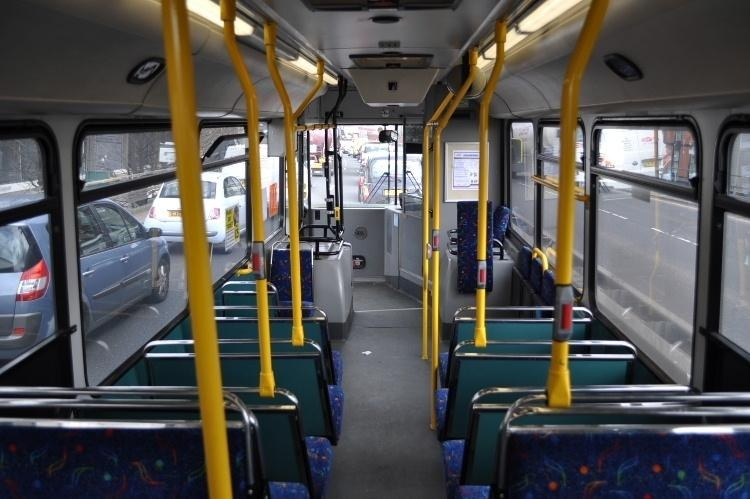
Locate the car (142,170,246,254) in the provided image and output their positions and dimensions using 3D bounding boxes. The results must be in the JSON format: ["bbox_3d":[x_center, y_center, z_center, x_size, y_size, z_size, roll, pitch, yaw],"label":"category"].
[{"bbox_3d":[-2.318,-0.483,6.851,1.018,0.956,2.107,1,14,4],"label":"car"}]

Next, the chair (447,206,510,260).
[{"bbox_3d":[1.702,-0.319,8.121,1.008,1.184,0.861,-1,7,2],"label":"chair"}]
